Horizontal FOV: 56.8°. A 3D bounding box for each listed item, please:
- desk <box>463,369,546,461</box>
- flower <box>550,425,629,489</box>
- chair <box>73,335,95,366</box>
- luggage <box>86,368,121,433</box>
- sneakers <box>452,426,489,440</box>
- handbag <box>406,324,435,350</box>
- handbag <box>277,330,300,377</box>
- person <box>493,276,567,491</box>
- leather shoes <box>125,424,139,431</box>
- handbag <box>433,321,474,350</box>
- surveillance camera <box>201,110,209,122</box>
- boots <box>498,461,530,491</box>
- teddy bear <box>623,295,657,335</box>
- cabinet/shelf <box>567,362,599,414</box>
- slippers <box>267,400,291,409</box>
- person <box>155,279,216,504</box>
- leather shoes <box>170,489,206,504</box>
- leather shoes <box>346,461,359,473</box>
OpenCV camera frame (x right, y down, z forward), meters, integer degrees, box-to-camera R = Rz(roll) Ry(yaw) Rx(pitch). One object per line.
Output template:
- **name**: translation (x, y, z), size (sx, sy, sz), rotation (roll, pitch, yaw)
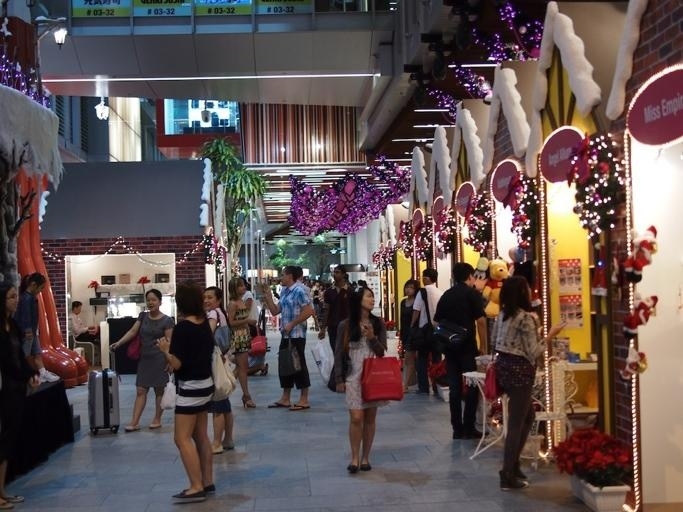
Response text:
- **desk**: translation (1.709, 1.759, 7.034), size (0.800, 0.910, 0.795), rotation (8, -10, -42)
- **flower**: translation (2.097, 1.753, 5.472), size (0.529, 0.431, 0.495), rotation (-22, -20, 41)
- **chair**: translation (-5.658, 2.118, 13.903), size (0.359, 0.727, 0.456), rotation (-2, 0, -40)
- **luggage**: translation (-3.134, 1.939, 8.155), size (0.459, 0.777, 0.404), rotation (-15, -18, 23)
- **sneakers**: translation (1.507, 2.069, 7.369), size (0.362, 0.178, 0.132), rotation (-4, -1, -3)
- **handbag**: translation (1.185, 1.263, 9.395), size (0.289, 0.411, 0.781), rotation (-2, 0, 1)
- **handbag**: translation (-0.752, 1.470, 9.110), size (0.314, 0.586, 0.190), rotation (-2, 0, -4)
- **person**: translation (1.622, 1.161, 5.742), size (0.451, 1.890, 0.316), rotation (-1, 0, 14)
- **leather shoes**: translation (-2.718, 2.256, 8.188), size (0.080, 0.081, 0.181), rotation (-3, -13, 18)
- **handbag**: translation (1.261, 0.933, 7.285), size (0.370, 0.316, 0.263), rotation (12, 29, 31)
- **surveillance camera**: translation (-6.398, -6.570, 29.402), size (0.401, 0.704, 0.341), rotation (3, 12, -1)
- **boots**: translation (1.550, 2.030, 5.707), size (0.320, 0.251, 0.136), rotation (-5, 5, -31)
- **teddy bear**: translation (2.501, 0.517, 5.265), size (0.272, 0.344, 0.175), rotation (-2, 0, 20)
- **cabinet/shelf**: translation (2.621, 1.429, 6.882), size (0.300, 0.550, 0.431), rotation (-2, 0, 20)
- **slippers**: translation (-0.933, 2.280, 9.474), size (0.234, 0.085, 0.137), rotation (4, -7, -5)
- **person**: translation (-1.344, 1.207, 5.539), size (0.454, 1.964, 0.389), rotation (-1, 0, -17)
- **leather shoes**: translation (-1.339, 2.107, 5.516), size (0.223, 0.098, 0.133), rotation (3, -6, 6)
- **leather shoes**: translation (0.107, 2.115, 6.216), size (0.099, 0.062, 0.173), rotation (0, -5, 0)
